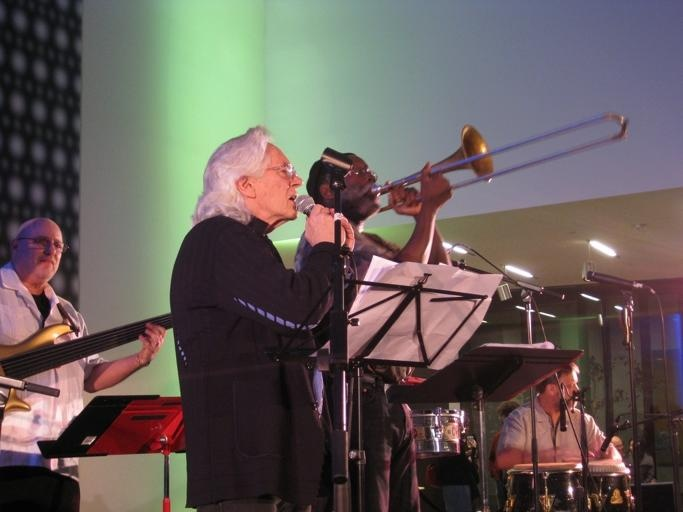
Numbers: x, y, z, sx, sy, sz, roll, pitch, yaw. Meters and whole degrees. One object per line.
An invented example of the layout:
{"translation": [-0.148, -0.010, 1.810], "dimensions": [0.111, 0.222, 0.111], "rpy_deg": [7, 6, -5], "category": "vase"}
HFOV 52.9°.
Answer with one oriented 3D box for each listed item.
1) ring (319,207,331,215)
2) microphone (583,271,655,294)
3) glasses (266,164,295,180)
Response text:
{"translation": [-0.069, -0.197, 2.934], "dimensions": [0.032, 0.037, 0.014], "rpy_deg": [10, -32, -9], "category": "ring"}
{"translation": [2.277, 0.206, 5.600], "dimensions": [0.418, 0.121, 0.118], "rpy_deg": [13, 5, -1], "category": "microphone"}
{"translation": [-0.251, -0.361, 2.904], "dimensions": [0.076, 0.028, 0.078], "rpy_deg": [-10, -7, 21], "category": "glasses"}
